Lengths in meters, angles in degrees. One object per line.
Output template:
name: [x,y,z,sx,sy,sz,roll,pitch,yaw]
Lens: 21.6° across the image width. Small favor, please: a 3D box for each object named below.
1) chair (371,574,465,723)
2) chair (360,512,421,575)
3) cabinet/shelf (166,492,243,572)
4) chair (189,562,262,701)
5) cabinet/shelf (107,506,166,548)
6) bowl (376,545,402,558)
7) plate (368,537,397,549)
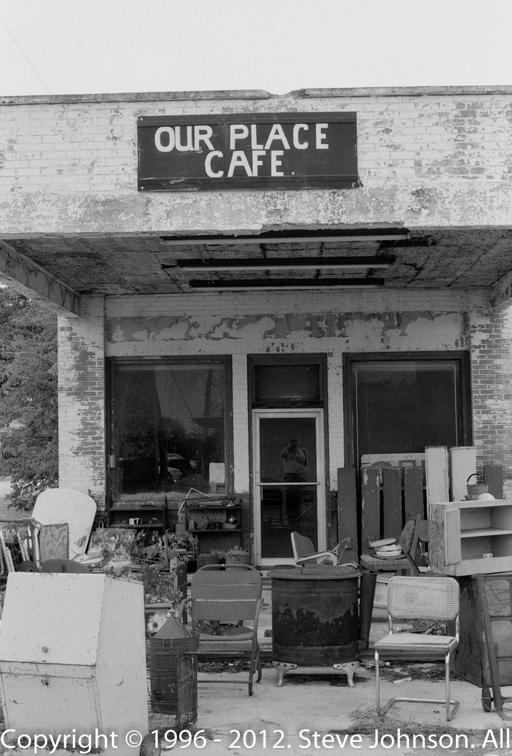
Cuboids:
chair: [1.139,1.816,9.354,0.613,1.502,0.730,-2,-6,19]
chair: [1.211,1.631,12.160,0.450,0.813,0.460,2,-4,14]
cabinet/shelf: [-0.526,1.617,14.075,0.584,0.751,0.222,0,-4,-4]
chair: [-0.228,1.860,9.964,0.414,0.994,0.564,2,-8,-4]
cabinet/shelf: [-1.298,1.596,14.718,0.651,0.461,0.764,-1,-11,-6]
bowl: [1.193,1.531,11.945,0.245,0.128,0.218,0,-11,-8]
plate: [1.142,1.462,11.945,0.172,0.054,0.201,-1,-2,-10]
